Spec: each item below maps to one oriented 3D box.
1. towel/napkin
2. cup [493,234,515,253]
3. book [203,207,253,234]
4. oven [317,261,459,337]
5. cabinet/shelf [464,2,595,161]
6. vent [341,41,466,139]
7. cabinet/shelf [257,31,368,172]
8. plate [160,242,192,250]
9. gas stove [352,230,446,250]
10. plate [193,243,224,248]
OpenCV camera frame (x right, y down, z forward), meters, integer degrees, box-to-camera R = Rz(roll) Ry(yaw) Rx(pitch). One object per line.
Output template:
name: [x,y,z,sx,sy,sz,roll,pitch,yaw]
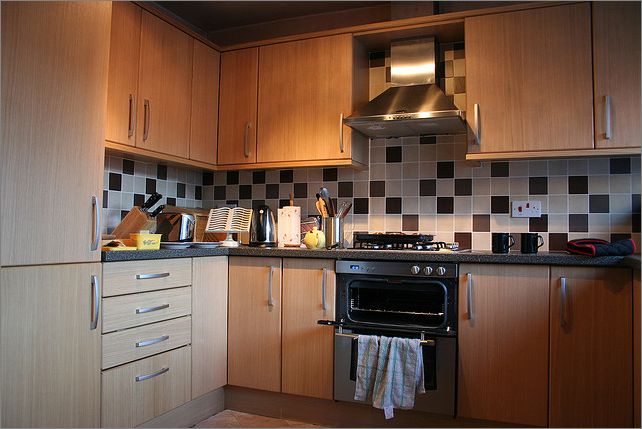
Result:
towel/napkin: [0.406,0.932,2.834,0.462,0.475,0.141,0,-8,27]
cup: [1.151,0.178,3.010,0.127,0.123,0.170,-1,-1,20]
book: [-0.689,0.041,3.568,0.348,0.183,0.195,-1,-1,-8]
oven: [0.544,0.540,3.180,0.760,0.399,0.514,-1,-9,25]
cabinet/shelf: [1.385,-0.867,3.108,1.032,1.219,0.391,-1,0,20]
vent: [0.639,-0.951,3.414,0.850,0.634,0.495,2,3,31]
cabinet/shelf: [-0.056,-0.860,3.569,0.992,1.182,0.618,-2,-5,17]
plate: [-0.952,0.198,3.132,0.221,0.045,0.111,0,-1,-32]
gas stove: [0.548,0.183,3.318,0.613,0.108,0.419,-1,-1,17]
plate: [-0.811,0.208,3.345,0.080,0.038,0.274,-2,-1,40]
